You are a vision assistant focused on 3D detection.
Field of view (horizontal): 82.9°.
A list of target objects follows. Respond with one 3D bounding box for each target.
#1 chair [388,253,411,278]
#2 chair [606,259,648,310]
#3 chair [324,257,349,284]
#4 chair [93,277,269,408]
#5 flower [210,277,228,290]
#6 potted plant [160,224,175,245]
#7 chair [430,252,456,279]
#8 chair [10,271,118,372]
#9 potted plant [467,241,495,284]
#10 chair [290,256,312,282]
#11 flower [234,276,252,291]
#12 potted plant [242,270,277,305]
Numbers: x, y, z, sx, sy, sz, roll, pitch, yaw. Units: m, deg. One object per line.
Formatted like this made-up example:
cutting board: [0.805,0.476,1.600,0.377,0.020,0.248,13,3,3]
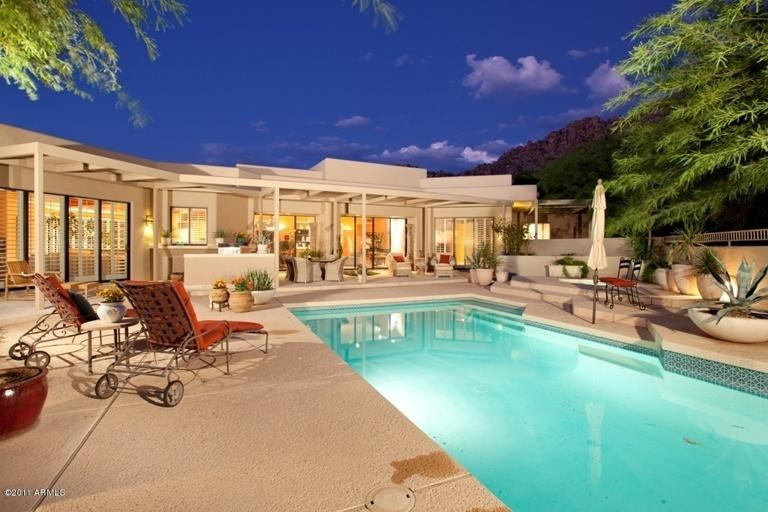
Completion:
chair: [0.700,0.398,18.365,0.875,0.780,1.015,0,-4,-13]
chair: [6.878,0.795,12.321,0.849,1.046,1.320,-1,-3,18]
chair: [-1.732,0.502,16.668,0.936,1.071,0.884,1,-1,9]
chair: [-3.237,1.141,6.631,2.090,1.655,2.025,-6,5,-34]
flower: [-4.427,0.709,11.630,0.401,0.204,0.377,1,1,17]
potted plant: [-8.107,-0.798,16.246,0.721,0.672,0.627,-1,1,-45]
chair: [2.462,0.362,18.236,0.838,0.849,1.074,0,-4,5]
chair: [-5.434,0.981,8.197,2.329,1.920,1.427,-2,6,-45]
potted plant: [3.644,0.303,16.221,0.953,1.414,1.604,-3,4,12]
chair: [-2.858,0.463,15.232,0.754,0.907,0.856,2,4,18]
flower: [-3.310,0.648,10.356,0.436,0.357,0.393,-6,5,-32]
potted plant: [-3.159,0.750,11.446,0.945,0.964,0.901,-1,4,-10]
